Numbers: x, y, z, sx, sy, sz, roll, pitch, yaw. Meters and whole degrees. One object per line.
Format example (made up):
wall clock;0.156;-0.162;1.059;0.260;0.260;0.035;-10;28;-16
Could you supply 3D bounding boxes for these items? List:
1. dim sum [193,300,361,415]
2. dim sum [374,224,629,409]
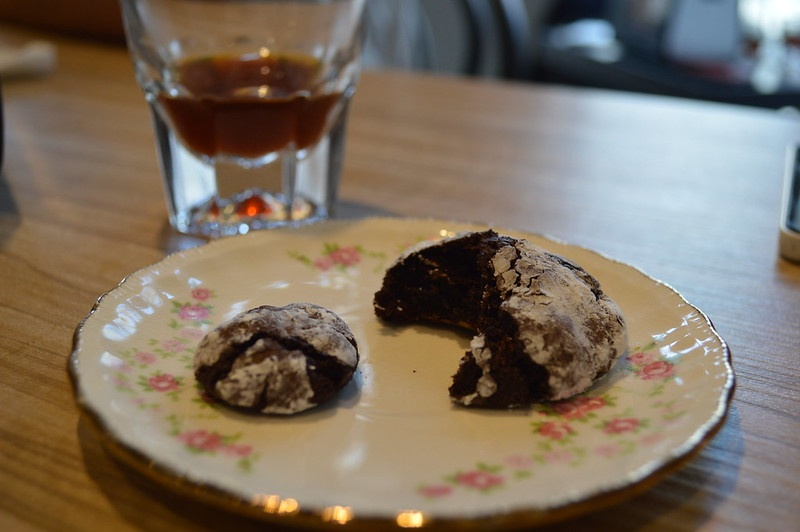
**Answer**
dim sum;-0.170;0.125;0.997;0.222;0.068;0.239;-20;35;-33
dim sum;0.165;0.045;1.109;0.350;0.135;0.426;-13;28;-23
